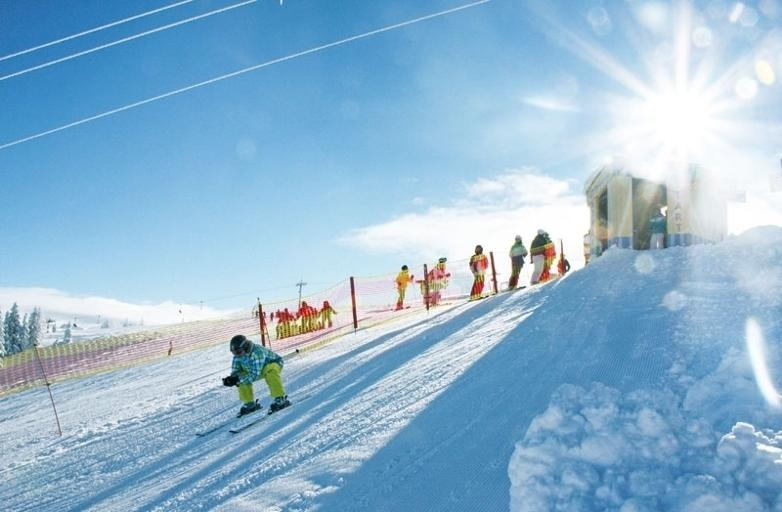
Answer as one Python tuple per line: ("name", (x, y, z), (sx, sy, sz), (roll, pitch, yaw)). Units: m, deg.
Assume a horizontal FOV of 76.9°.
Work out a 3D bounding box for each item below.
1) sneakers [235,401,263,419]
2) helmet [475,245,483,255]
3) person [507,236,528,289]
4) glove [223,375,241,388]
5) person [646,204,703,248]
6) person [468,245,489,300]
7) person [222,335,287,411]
("sneakers", (-2.723, 2.953, 9.525), (0.181, 0.238, 0.563), (-1, 1, 22))
("helmet", (2.351, -0.160, 13.270), (0.178, 0.261, 0.090), (-1, 7, 10))
("person", (3.734, 0.220, 14.767), (0.685, 1.009, 0.988), (-10, 6, 13))
("glove", (-3.094, 2.427, 9.542), (0.212, 0.123, 0.265), (9, -12, -32))
("person", (7.431, -0.752, 12.877), (0.946, 1.269, 1.243), (-1, 0, -14))
("person", (2.810, 0.516, 16.080), (0.714, 1.229, 1.303), (-10, 6, 8))
("person", (-2.589, 2.315, 9.773), (1.105, 1.518, 1.101), (-9, -5, 0))
